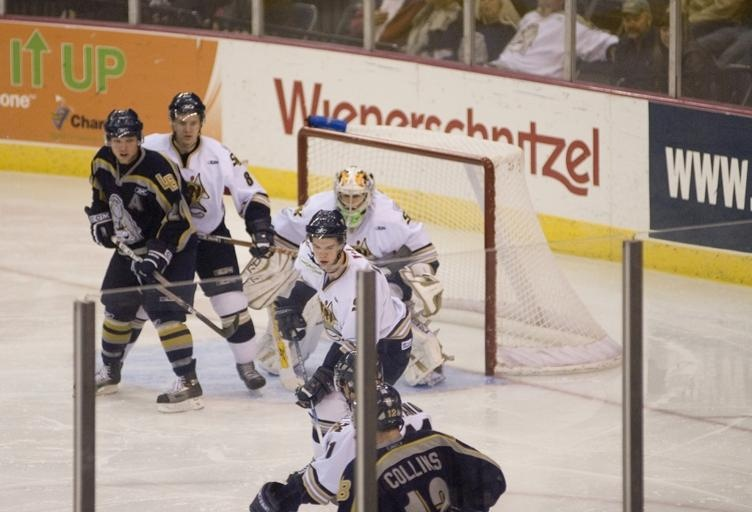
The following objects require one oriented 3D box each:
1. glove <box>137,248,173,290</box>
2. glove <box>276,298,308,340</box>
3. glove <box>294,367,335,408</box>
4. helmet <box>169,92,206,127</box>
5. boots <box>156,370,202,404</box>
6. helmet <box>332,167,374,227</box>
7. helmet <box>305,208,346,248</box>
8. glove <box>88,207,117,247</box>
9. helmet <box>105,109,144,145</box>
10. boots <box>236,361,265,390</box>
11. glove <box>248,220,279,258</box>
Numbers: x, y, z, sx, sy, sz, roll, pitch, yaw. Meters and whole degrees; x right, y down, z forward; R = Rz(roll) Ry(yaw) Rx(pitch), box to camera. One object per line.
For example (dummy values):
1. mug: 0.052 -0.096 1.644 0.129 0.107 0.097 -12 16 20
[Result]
1. glove: -1.027 0.056 7.022 0.193 0.080 0.143 -38 29 -7
2. glove: -0.339 0.273 6.337 0.177 0.155 0.075 11 -2 22
3. glove: -0.226 0.539 5.990 0.178 0.102 0.075 -44 -3 -13
4. helmet: -0.915 -0.734 7.346 0.157 0.133 0.166 -1 -13 -9
5. boots: -0.775 0.524 5.838 0.091 0.156 0.257 -2 0 39
6. helmet: -0.095 -0.293 7.276 0.250 0.273 0.284 1 30 3
7. helmet: -0.191 -0.123 6.267 0.155 0.136 0.155 -2 -8 3
8. glove: -1.287 -0.126 7.138 0.161 0.189 0.075 21 47 41
9. helmet: -1.146 -0.629 6.997 0.158 0.145 0.178 -1 11 1
10. boots: -0.486 0.481 5.904 0.063 0.072 0.178 -22 28 -24
11. glove: -0.541 -0.081 7.250 0.133 0.060 0.189 -8 37 -2
